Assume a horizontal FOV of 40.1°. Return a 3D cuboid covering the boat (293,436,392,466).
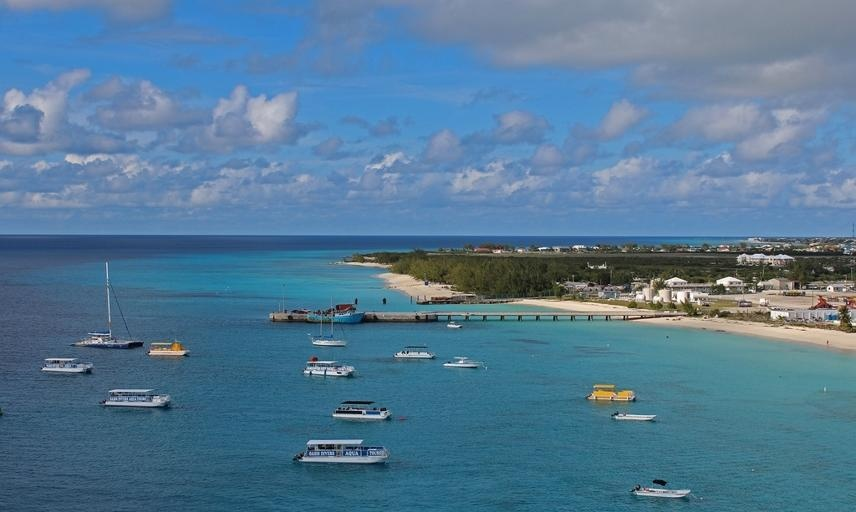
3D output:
[{"bbox_3d":[-8.494,18.806,112.855,8.267,1.995,1.610,1,4,-3],"label":"boat"}]
